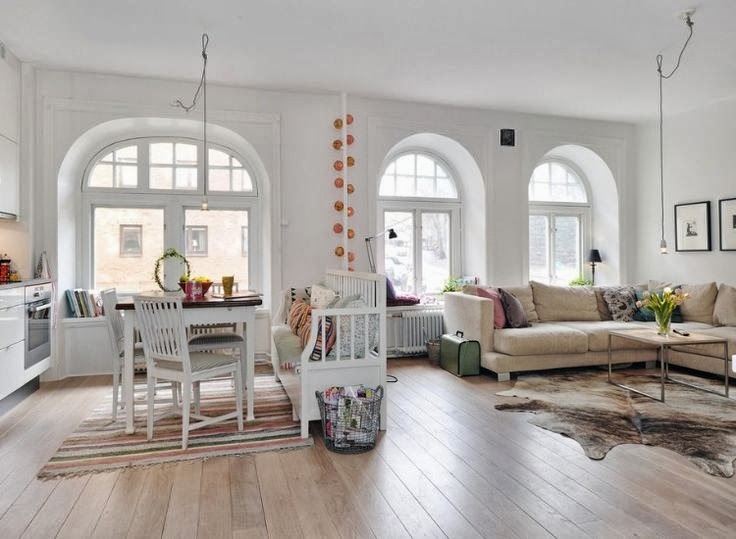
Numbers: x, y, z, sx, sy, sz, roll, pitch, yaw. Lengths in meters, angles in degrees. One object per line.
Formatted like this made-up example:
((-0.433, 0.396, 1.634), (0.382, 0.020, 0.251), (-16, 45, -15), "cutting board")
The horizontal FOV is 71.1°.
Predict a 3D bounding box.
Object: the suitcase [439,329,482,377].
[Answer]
((1.037, 0.940, 5.911), (0.289, 0.431, 0.541), (-1, 3, -16), "suitcase")

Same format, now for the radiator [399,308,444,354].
((0.639, 0.785, 6.536), (0.587, 0.545, 0.116), (1, -1, -24), "radiator")

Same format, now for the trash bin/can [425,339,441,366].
((0.771, 1.019, 6.292), (0.239, 0.259, 0.251), (1, -3, -4), "trash bin/can")

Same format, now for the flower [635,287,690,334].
((3.041, 0.391, 5.486), (0.616, 0.652, 0.653), (-3, -1, 32), "flower")

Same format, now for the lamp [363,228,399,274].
((0.127, -0.243, 6.525), (0.364, 0.598, 0.887), (-1, 12, 0), "lamp")

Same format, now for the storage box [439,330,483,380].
((0.988, 0.951, 5.818), (0.388, 0.534, 0.683), (-1, 0, -13), "storage box")

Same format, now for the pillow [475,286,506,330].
((1.456, 0.427, 5.915), (0.124, 0.404, 0.414), (-28, -24, 32), "pillow")

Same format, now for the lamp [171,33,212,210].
((-1.944, -1.533, 5.773), (0.357, 1.530, 1.251), (-5, 13, -19), "lamp")

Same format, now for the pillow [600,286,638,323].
((3.124, 0.444, 6.476), (0.393, 0.385, 0.120), (-2, -13, -27), "pillow")

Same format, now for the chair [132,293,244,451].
((-1.468, 0.772, 4.195), (0.786, 1.209, 0.647), (6, 14, 26), "chair")

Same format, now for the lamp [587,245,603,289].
((3.335, -0.024, 7.611), (0.180, 0.547, 0.366), (5, 13, 23), "lamp")

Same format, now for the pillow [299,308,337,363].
((-0.460, 0.526, 4.515), (0.250, 0.415, 0.817), (-3, 12, -11), "pillow")

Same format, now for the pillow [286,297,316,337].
((-0.695, 0.492, 5.192), (0.104, 0.343, 0.337), (20, 18, -26), "pillow")

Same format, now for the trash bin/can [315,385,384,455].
((-0.156, 1.143, 4.082), (0.513, 0.388, 0.457), (2, -6, -22), "trash bin/can")

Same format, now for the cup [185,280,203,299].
((-1.564, 0.185, 4.624), (0.164, 0.176, 0.156), (1, -5, 0), "cup")

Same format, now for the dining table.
((-1.499, 0.589, 4.607), (1.083, 1.332, 1.424), (-1, -2, 26), "dining table")
